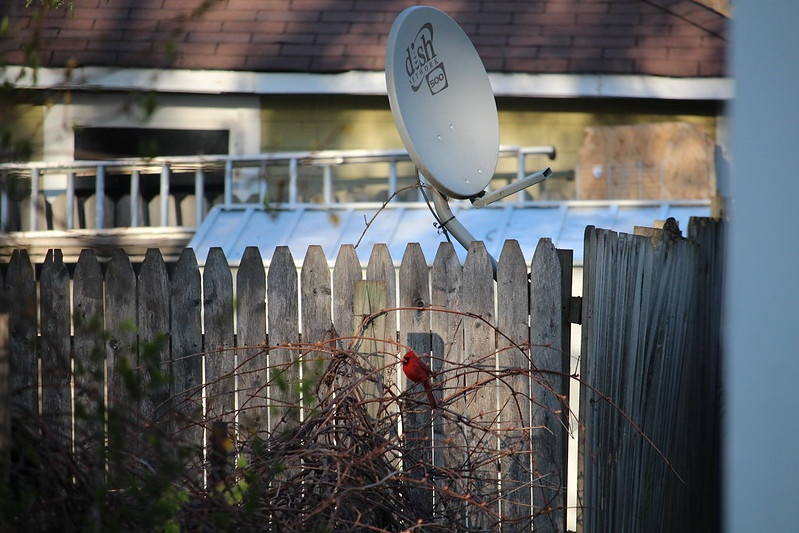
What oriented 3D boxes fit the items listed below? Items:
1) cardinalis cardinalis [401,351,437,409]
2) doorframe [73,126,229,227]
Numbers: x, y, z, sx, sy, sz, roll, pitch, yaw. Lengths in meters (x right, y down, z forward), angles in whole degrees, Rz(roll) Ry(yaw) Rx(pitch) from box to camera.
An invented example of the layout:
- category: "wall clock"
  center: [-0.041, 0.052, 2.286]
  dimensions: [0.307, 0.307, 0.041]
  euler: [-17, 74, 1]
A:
- category: "cardinalis cardinalis"
  center: [0.221, 1.000, 18.698]
  dimensions: [0.469, 0.542, 0.309]
  euler: [-7, -8, 43]
- category: "doorframe"
  center: [-2.533, -1.149, 23.629]
  dimensions: [1.403, 1.091, 0.842]
  euler: [0, 10, -11]
